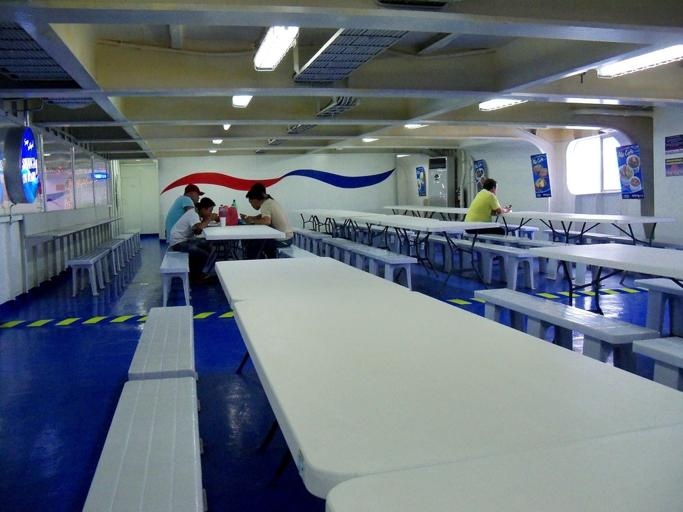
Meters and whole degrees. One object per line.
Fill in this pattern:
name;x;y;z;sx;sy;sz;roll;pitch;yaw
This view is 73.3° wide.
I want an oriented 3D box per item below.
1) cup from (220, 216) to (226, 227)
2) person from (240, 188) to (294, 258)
cup;-1.714;-0.498;6.710;0.120;0.141;0.119;1;0;0
person;-1.088;-0.502;7.402;0.468;1.292;0.560;-18;-13;18
